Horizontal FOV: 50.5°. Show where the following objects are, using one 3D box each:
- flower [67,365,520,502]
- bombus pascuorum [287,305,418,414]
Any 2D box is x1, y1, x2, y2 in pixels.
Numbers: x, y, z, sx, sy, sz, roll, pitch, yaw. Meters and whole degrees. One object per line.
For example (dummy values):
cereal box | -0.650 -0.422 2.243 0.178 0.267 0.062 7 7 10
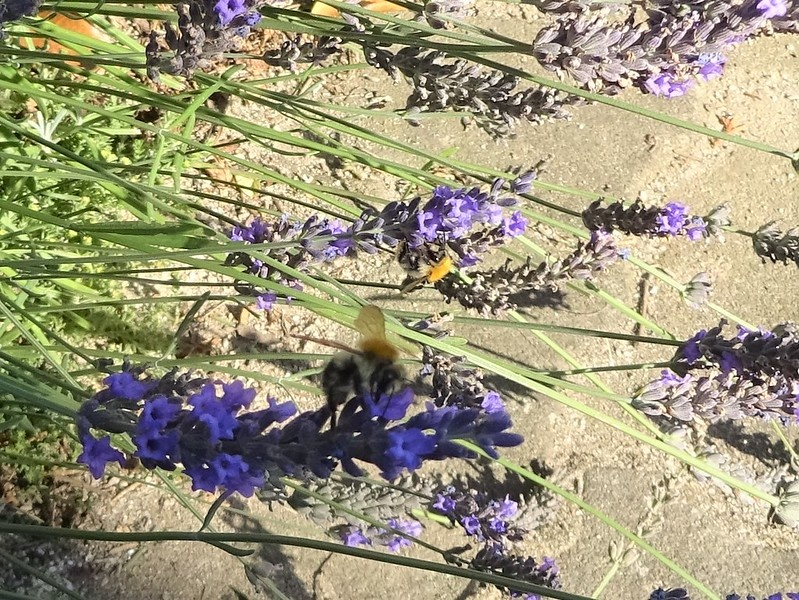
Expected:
flower | -0.258 0.286 2.016 1.331 0.291 0.339 3 -4 -6
bombus pascuorum | -0.101 0.161 2.088 0.285 0.114 0.256 6 23 -28
